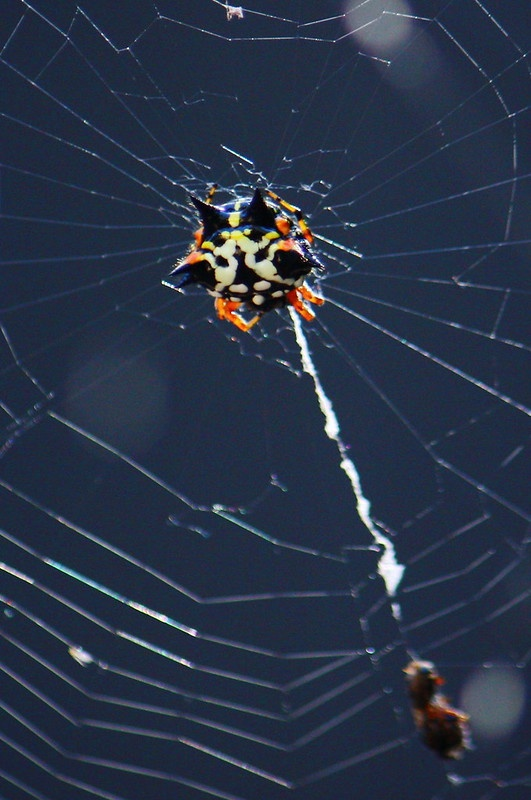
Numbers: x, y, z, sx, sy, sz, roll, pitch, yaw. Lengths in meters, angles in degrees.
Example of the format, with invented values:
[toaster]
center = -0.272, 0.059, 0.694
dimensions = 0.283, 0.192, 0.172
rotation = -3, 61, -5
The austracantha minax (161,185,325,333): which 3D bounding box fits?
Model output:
[austracantha minax]
center = -0.068, -0.724, 4.466
dimensions = 0.925, 0.312, 0.769
rotation = -19, -67, 12
